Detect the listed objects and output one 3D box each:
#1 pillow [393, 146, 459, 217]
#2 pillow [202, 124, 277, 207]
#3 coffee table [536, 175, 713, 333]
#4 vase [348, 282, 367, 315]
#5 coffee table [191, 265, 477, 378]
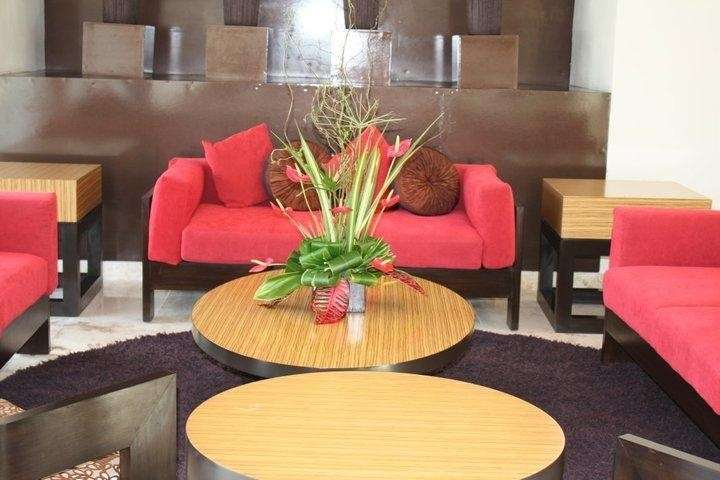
[{"bbox_3d":[0.462,-0.394,3.892,0.492,0.446,0.152,-6,-2,-17],"label":"pillow"},{"bbox_3d":[-0.850,-0.489,4.005,0.541,0.515,0.161,-28,13,-37],"label":"pillow"},{"bbox_3d":[1.616,0.003,4.072,1.065,1.033,1.060,1,9,5],"label":"coffee table"},{"bbox_3d":[-0.049,0.253,2.522,0.129,0.128,0.123,3,-4,-10],"label":"vase"},{"bbox_3d":[-0.133,0.368,2.476,1.226,0.167,0.904,2,13,8],"label":"coffee table"}]
